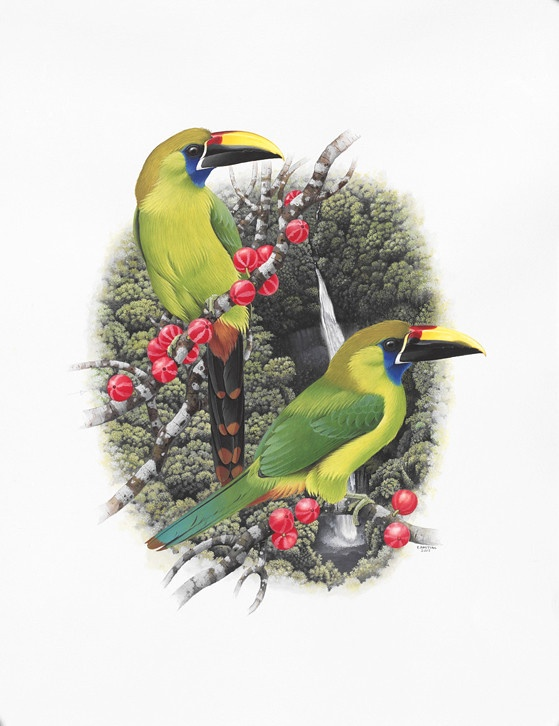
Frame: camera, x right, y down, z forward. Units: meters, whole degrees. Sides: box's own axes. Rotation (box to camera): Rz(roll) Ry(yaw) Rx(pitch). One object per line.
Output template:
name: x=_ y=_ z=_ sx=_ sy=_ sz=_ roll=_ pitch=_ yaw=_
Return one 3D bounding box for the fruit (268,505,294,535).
fruit: x=0.000 y=0.511 z=3.166 sx=0.088 sy=0.074 sz=0.096 roll=-1 pitch=-18 yaw=-5
